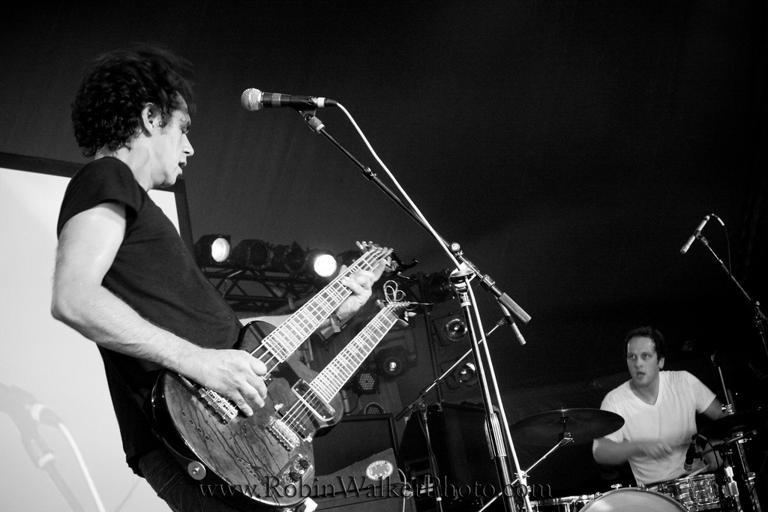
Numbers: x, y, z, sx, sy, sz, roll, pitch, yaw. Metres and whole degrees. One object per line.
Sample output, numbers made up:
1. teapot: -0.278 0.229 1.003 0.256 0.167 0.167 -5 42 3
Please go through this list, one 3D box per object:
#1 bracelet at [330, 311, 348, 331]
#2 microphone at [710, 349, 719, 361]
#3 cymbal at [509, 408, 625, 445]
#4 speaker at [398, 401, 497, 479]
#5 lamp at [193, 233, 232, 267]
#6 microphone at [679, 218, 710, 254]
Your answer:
1. bracelet: -0.300 0.446 4.215 0.072 0.127 0.037 -8 -31 -49
2. microphone: 3.335 1.005 6.377 0.029 0.098 0.078 15 5 12
3. cymbal: 1.529 1.432 5.310 0.915 0.300 0.587 -16 -18 7
4. speaker: 0.537 1.761 5.997 0.906 0.881 0.859 3 -15 -4
5. lamp: -1.600 -0.026 5.991 0.297 0.310 0.284 -9 -13 33
6. microphone: 3.261 -0.193 6.622 0.088 0.426 0.071 41 -15 -27
